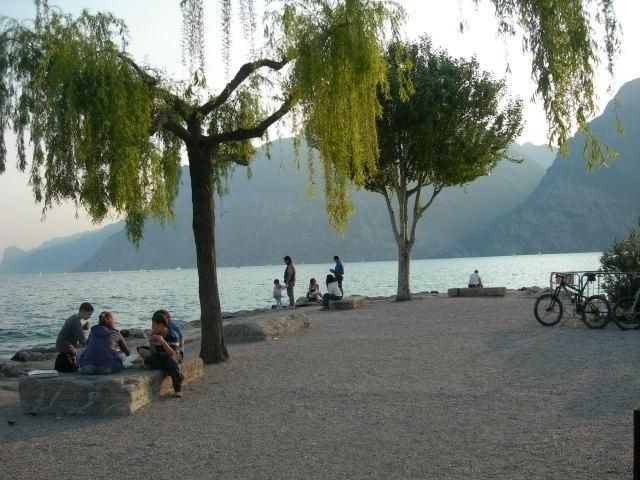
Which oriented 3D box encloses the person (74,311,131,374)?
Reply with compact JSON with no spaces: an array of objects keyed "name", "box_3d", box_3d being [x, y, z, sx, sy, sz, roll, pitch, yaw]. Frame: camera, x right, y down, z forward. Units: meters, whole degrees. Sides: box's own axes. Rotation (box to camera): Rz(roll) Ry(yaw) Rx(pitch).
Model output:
[{"name":"person","box_3d":[-4.448,2.088,11.792,0.865,1.261,0.840,-4,2,-2]}]
